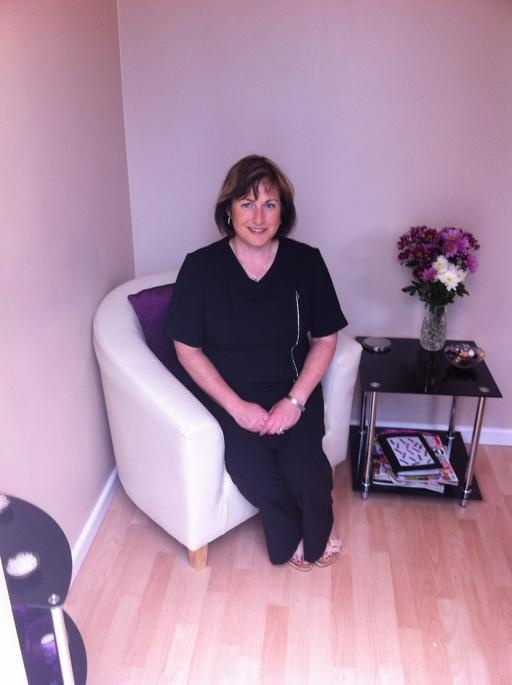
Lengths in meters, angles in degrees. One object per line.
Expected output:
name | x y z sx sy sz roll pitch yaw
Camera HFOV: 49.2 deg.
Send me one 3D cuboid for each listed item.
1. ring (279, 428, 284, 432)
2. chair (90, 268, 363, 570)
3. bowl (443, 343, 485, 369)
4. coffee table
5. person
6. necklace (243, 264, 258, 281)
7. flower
ring | 0.078 0.267 1.700 0.010 0.009 0.009 2 25 -1
chair | -0.129 0.219 1.995 0.857 0.667 0.794 -12 32 -29
bowl | 0.769 0.044 2.063 0.108 0.043 0.096 17 35 34
coffee table | 0.619 0.276 2.158 0.499 0.467 0.525 3 27 9
person | 0.059 0.089 1.763 0.567 1.224 0.664 -14 29 -23
necklace | -0.022 -0.214 1.725 0.046 0.014 0.037 47 38 14
flower | 0.657 -0.183 2.034 0.283 0.394 0.266 -6 22 -3
